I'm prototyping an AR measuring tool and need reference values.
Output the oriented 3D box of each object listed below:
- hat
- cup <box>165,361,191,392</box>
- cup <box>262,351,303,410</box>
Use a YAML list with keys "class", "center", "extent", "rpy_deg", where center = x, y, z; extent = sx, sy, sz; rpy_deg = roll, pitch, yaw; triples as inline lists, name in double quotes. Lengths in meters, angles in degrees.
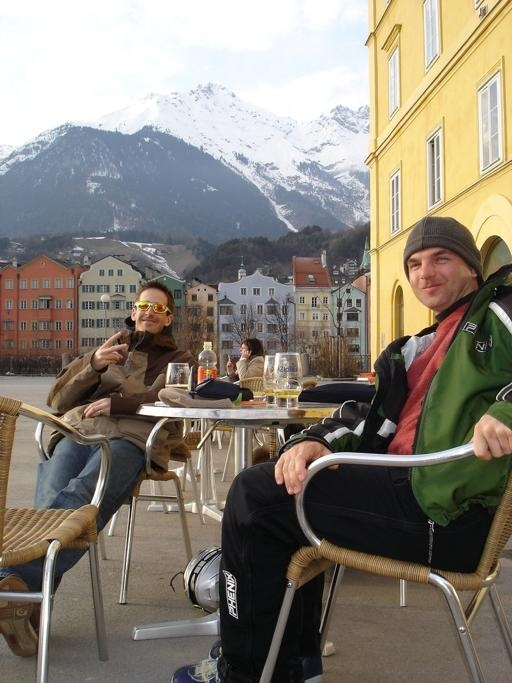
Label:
- class: "hat"
  center: [0.648, -0.290, 2.199]
  extent: [0.188, 0.208, 0.255]
  rpy_deg: [-18, -22, 30]
- class: "cup"
  center: [-0.350, 0.155, 2.916]
  extent: [0.122, 0.112, 0.118]
  rpy_deg: [1, -8, 0]
- class: "cup"
  center: [0.111, 0.157, 2.615]
  extent: [0.194, 0.270, 0.201]
  rpy_deg: [0, -4, 0]
